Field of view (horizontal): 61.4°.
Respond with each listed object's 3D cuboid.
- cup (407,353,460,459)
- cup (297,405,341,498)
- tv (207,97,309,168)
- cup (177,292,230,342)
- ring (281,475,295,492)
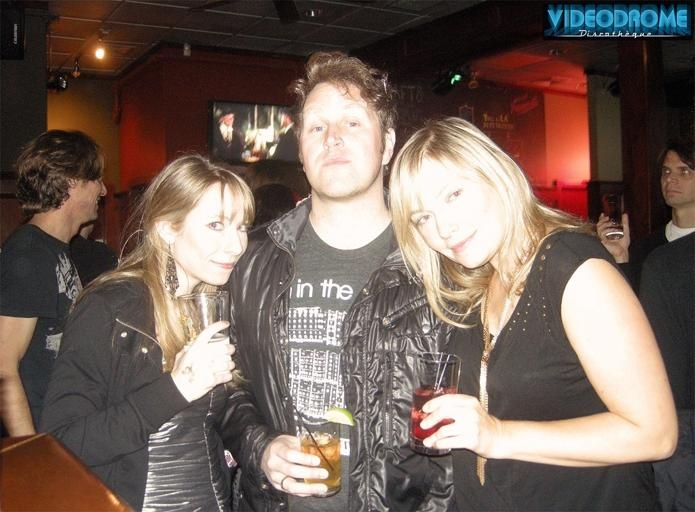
[{"bbox_3d":[0.335,0.581,2.230,0.178,0.429,0.143,0,4,4],"label":"cup"},{"bbox_3d":[-0.112,0.812,2.405,0.160,0.313,0.144,0,4,-6],"label":"cup"},{"bbox_3d":[-1.407,-1.819,8.728,1.510,0.882,0.153,-5,15,-41],"label":"tv"},{"bbox_3d":[-0.584,0.244,2.434,0.205,0.205,0.172,-7,0,-13],"label":"cup"},{"bbox_3d":[-0.243,0.922,2.363,0.033,0.047,0.061,-1,21,-43],"label":"ring"}]
